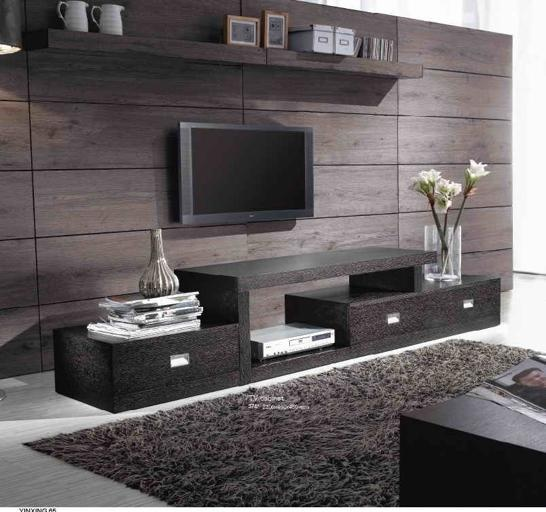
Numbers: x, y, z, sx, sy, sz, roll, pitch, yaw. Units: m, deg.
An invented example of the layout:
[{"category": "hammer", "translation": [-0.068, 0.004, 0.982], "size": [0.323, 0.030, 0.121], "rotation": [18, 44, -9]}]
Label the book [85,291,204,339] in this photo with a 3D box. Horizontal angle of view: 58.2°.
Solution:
[{"category": "book", "translation": [-0.603, 0.296, 2.368], "size": [0.368, 0.100, 0.283], "rotation": [-5, 8, -39]}]

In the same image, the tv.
[{"category": "tv", "translation": [-0.224, -0.586, 3.406], "size": [0.950, 0.477, 0.100], "rotation": [-8, 13, -30]}]
